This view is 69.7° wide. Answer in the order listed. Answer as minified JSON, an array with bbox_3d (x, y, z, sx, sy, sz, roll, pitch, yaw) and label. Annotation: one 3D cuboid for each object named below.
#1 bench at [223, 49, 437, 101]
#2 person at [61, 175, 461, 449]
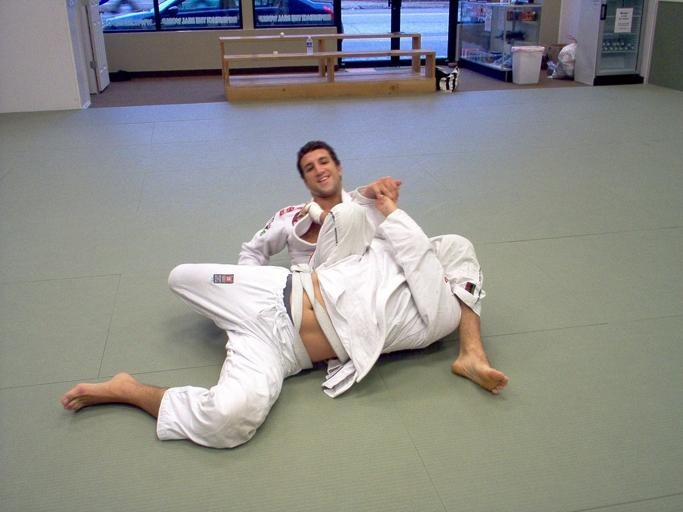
[{"bbox_3d":[-0.203,-2.882,7.819,3.267,0.732,1.450,-4,20,-10],"label":"bench"},{"bbox_3d":[-0.201,0.227,2.183,1.627,0.823,0.813,-9,25,-23],"label":"person"}]
